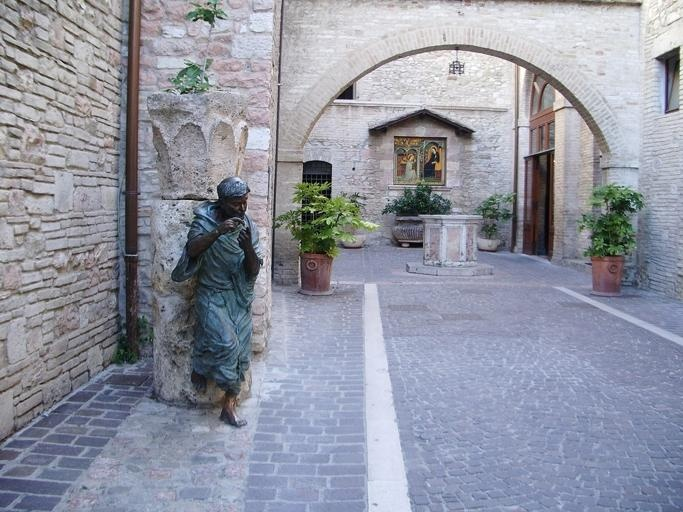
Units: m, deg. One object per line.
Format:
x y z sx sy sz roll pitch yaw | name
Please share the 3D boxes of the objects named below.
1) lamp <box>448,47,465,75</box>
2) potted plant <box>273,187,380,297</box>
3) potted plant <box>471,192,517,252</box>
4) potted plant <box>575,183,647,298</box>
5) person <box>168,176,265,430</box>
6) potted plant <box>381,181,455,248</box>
4.165 -7.041 18.159 0.609 0.963 1.400 3 8 11 | lamp
-0.511 -0.355 9.206 1.409 1.922 2.405 -1 8 -12 | potted plant
5.380 -1.192 17.705 1.256 1.985 1.249 4 9 20 | potted plant
5.047 -0.243 9.311 1.178 1.840 0.967 4 5 -23 | potted plant
-0.938 0.349 3.809 0.614 1.868 0.460 3 8 15 | person
2.521 -1.481 17.691 2.192 2.235 1.388 1 8 1 | potted plant
